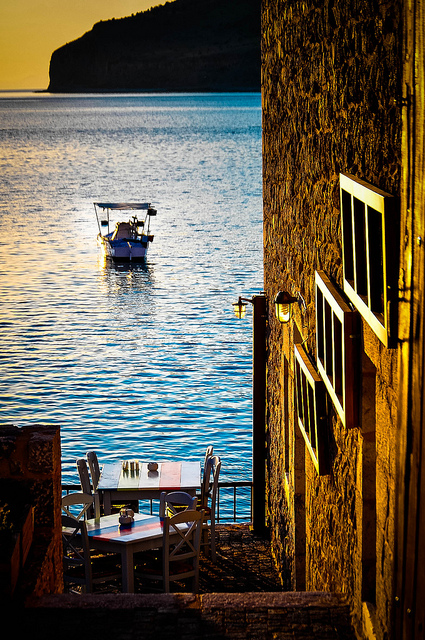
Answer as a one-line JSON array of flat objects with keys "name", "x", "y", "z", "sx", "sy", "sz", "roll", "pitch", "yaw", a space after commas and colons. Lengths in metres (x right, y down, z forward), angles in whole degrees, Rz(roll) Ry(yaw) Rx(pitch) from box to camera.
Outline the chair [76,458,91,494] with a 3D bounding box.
[{"name": "chair", "x": -1.332, "y": 1.499, "z": 8.900, "sx": 0.123, "sy": 0.297, "sz": 0.442, "roll": -2, "pitch": 9, "yaw": -9}]

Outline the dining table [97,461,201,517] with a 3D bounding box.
[{"name": "dining table", "x": -0.596, "y": 1.552, "z": 8.874, "sx": 1.095, "sy": 0.293, "sz": 1.101, "roll": -2, "pitch": 9, "yaw": -3}]
